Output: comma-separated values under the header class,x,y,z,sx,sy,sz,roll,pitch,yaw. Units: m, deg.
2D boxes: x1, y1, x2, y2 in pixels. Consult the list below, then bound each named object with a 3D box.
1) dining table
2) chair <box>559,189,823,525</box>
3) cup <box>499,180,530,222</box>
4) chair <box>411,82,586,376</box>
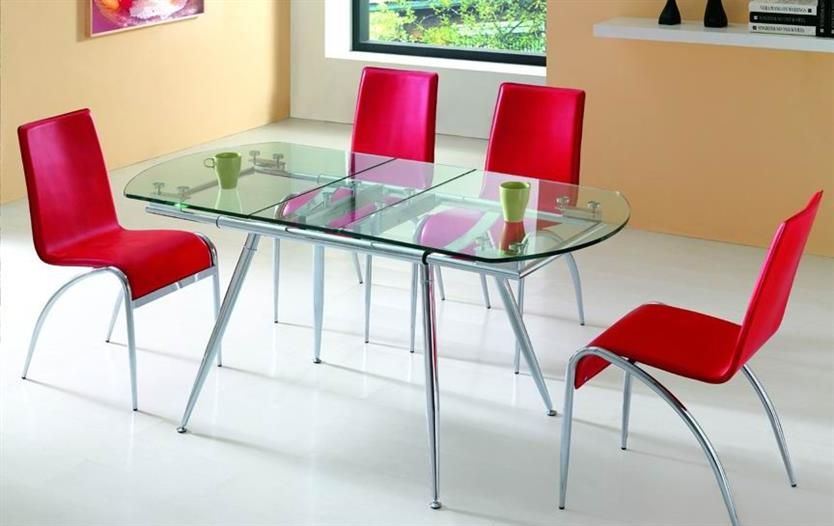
class,x,y,z,sx,sy,sz,roll,pitch,yaw
dining table,-0.312,0.253,2.786,1.569,0.836,0.842,10,-2,-8
chair,0.943,0.331,2.412,0.689,1.182,0.621,13,25,21
cup,0.384,-0.234,2.587,0.150,0.168,0.154,-1,0,0
chair,0.462,-0.194,3.345,0.669,1.285,0.751,15,26,35
